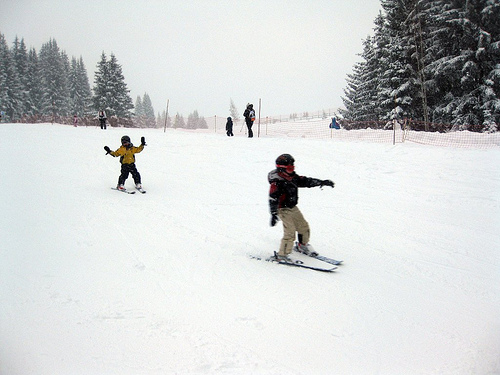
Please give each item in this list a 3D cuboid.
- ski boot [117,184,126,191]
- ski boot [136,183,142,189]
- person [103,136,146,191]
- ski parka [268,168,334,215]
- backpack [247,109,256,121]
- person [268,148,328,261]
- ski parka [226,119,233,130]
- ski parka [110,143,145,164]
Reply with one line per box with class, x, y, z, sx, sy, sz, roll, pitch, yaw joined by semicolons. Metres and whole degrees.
ski boot;-3.777;0.001;11.725;0.110;0.147;0.268;-5;6;-43
ski boot;-3.316;-0.039;11.895;0.119;0.135;0.129;-2;-15;1
person;-3.672;-0.745;12.095;1.124;1.760;0.551;-11;36;-24
ski parka;0.887;0.069;8.268;1.116;0.910;0.324;-6;11;-30
backpack;0.029;-3.763;20.865;0.395;0.583;0.591;-1;10;-5
person;0.946;0.429;8.378;0.963;2.457;0.954;-11;25;-9
ski parka;-1.318;-3.920;25.001;0.393;0.865;0.579;3;8;3
ski parka;-4.028;-1.077;13.181;0.933;0.565;0.310;2;10;45
